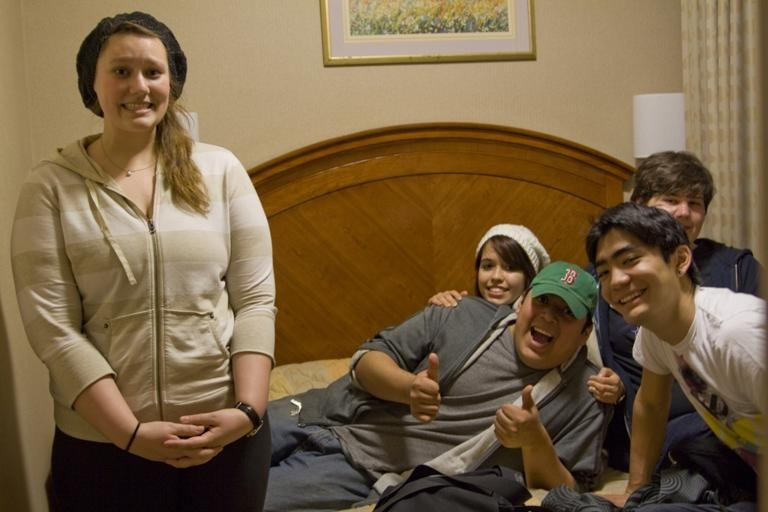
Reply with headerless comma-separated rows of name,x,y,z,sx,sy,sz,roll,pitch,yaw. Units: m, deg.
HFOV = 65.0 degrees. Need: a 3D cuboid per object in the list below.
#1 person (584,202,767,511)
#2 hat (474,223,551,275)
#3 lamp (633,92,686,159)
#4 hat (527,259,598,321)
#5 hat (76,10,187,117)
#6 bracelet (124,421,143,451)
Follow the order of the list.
person,0.982,0.321,1.929,0.381,1.012,0.558,-3,1,-32
hat,0.640,-0.027,2.780,0.272,0.241,0.149,-13,20,-43
lamp,1.438,-0.653,3.264,0.335,0.393,0.343,2,3,29
hat,0.741,0.102,2.425,0.279,0.183,0.381,27,10,20
hat,-0.763,-0.577,1.780,0.288,0.345,0.161,2,13,-10
bracelet,-0.682,0.492,1.626,0.060,0.071,0.033,-2,1,19
